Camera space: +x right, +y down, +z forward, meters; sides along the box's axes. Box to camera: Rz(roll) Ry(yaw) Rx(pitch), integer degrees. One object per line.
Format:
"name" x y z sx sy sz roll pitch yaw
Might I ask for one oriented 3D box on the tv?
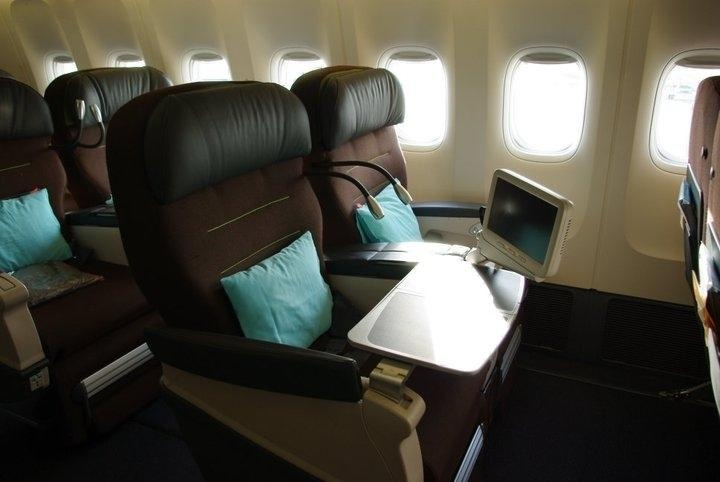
"tv" 0.777 -0.066 2.301 0.155 0.465 0.491 -15 36 -33
